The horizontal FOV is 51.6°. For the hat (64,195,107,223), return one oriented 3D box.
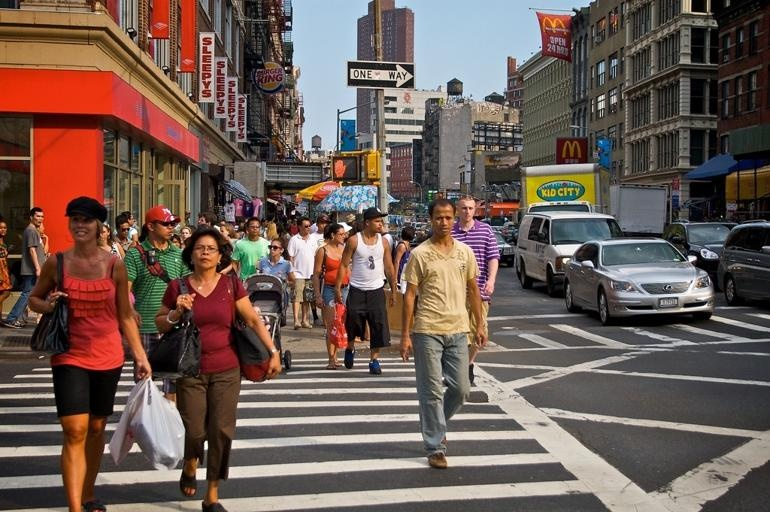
[{"bbox_3d":[-2.776,-0.448,7.486,0.230,0.146,0.319,0,-13,10],"label":"hat"}]

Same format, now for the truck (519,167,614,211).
[{"bbox_3d":[6.666,-2.521,29.551,3.124,1.788,1.616,0,3,10],"label":"truck"}]

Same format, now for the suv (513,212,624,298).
[{"bbox_3d":[5.636,-0.324,25.746,1.872,1.621,3.709,0,0,-7],"label":"suv"}]

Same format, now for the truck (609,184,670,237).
[{"bbox_3d":[11.552,-2.125,37.105,1.838,2.202,3.504,1,3,4],"label":"truck"}]

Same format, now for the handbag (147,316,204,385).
[{"bbox_3d":[-2.009,0.856,7.584,0.502,0.626,0.268,0,3,22],"label":"handbag"}]

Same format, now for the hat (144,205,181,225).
[{"bbox_3d":[-2.879,-0.510,10.110,0.374,0.220,0.239,-6,0,8],"label":"hat"}]

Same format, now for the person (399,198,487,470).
[{"bbox_3d":[0.598,0.810,8.748,0.812,2.881,0.647,-1,3,-4],"label":"person"}]

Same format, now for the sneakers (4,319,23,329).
[{"bbox_3d":[-7.749,1.413,16.586,0.423,0.191,0.162,2,3,-4],"label":"sneakers"}]

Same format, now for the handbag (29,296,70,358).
[{"bbox_3d":[-3.129,0.655,7.379,0.379,0.550,0.174,-1,3,9],"label":"handbag"}]

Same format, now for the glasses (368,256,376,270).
[{"bbox_3d":[-0.218,0.095,12.619,0.096,0.219,0.035,-1,3,-8],"label":"glasses"}]

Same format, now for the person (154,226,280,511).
[{"bbox_3d":[-1.670,1.051,7.724,0.973,2.672,0.679,0,3,22],"label":"person"}]

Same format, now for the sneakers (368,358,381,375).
[{"bbox_3d":[-0.175,1.816,13.001,0.200,0.278,0.624,0,-5,-4],"label":"sneakers"}]

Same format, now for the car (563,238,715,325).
[{"bbox_3d":[5.764,0.547,18.551,2.167,1.868,3.393,-2,3,-21],"label":"car"}]

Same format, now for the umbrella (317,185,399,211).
[{"bbox_3d":[-0.901,-1.747,23.601,1.548,0.805,2.359,-3,4,-30],"label":"umbrella"}]

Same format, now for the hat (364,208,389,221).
[{"bbox_3d":[-0.195,-0.667,12.499,0.297,0.164,0.223,1,3,16],"label":"hat"}]

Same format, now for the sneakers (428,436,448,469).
[{"bbox_3d":[0.571,2.143,8.572,0.204,0.248,0.204,-2,3,-20],"label":"sneakers"}]
